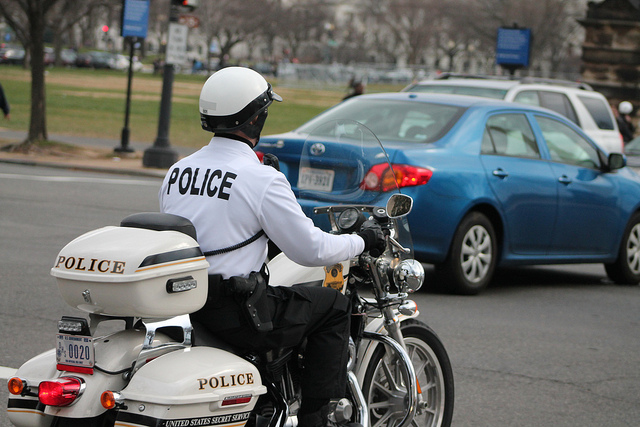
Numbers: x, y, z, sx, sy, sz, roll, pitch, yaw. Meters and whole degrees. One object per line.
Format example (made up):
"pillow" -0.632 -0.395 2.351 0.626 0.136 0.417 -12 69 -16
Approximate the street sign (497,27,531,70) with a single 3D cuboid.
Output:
"street sign" 3.130 -2.685 12.810 0.490 0.662 0.220 4 10 -1

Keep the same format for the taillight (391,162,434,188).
"taillight" 0.980 -0.413 8.432 0.418 0.165 0.376 6 6 -24

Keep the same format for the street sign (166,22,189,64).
"street sign" -3.264 -3.913 18.040 0.432 0.913 0.583 3 12 -9

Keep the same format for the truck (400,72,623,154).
"truck" 3.380 -1.839 12.515 3.861 1.357 1.733 -5 8 -40

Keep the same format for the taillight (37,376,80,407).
"taillight" -1.468 1.030 4.537 0.178 0.111 0.302 0 -6 13

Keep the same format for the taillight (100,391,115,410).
"taillight" -1.180 1.050 4.389 0.072 0.092 0.034 -1 -2 21

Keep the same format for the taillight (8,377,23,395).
"taillight" -1.740 0.996 4.507 0.083 0.093 0.037 7 6 7

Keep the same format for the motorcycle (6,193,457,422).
"motorcycle" -0.467 0.669 4.883 2.658 1.543 0.799 -2 14 -30
